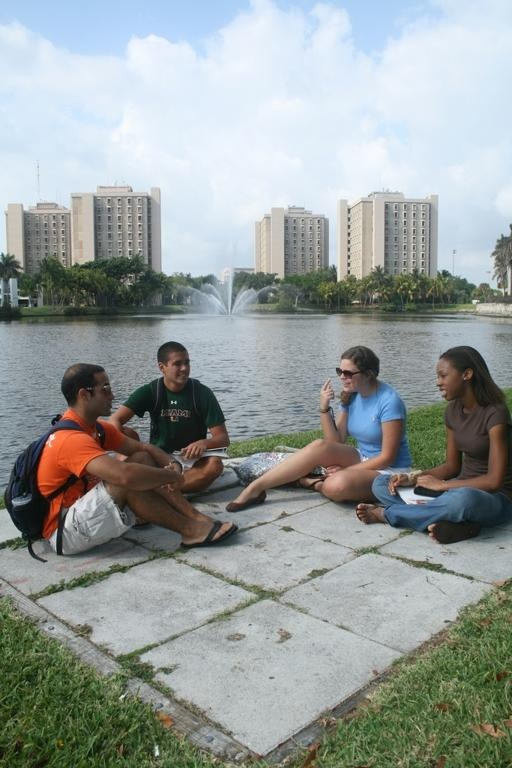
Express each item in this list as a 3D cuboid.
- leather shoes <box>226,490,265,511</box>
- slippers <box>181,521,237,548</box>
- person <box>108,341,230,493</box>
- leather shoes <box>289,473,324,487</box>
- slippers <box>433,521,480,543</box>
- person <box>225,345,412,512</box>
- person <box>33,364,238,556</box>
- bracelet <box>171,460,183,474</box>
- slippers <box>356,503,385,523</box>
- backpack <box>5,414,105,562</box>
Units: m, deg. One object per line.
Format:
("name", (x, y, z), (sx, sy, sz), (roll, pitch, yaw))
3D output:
("leather shoes", (-0.051, 0.870, 5.142), (0.314, 0.118, 0.103), (-3, -7, -38))
("slippers", (-0.281, 0.928, 4.268), (0.276, 0.095, 0.157), (-20, 3, 12))
("person", (-0.675, 0.245, 5.330), (0.925, 1.083, 0.806), (1, 9, 1))
("leather shoes", (0.426, 0.779, 5.576), (0.117, 0.092, 0.285), (0, -9, -24))
("slippers", (1.204, 0.899, 4.226), (0.312, 0.108, 0.119), (-3, 8, -9))
("person", (0.449, 0.329, 5.119), (1.505, 1.063, 0.812), (-8, 6, -18))
("person", (-0.757, 0.450, 4.207), (1.277, 1.134, 0.632), (-3, 9, 0))
("bracelet", (-0.545, 0.571, 4.764), (0.058, 0.055, 0.109), (24, 26, -18))
("slippers", (0.778, 0.882, 4.718), (0.106, 0.080, 0.252), (-3, -14, 35))
("backpack", (-1.181, 0.657, 4.141), (0.508, 0.756, 0.820), (3, 4, 2))
